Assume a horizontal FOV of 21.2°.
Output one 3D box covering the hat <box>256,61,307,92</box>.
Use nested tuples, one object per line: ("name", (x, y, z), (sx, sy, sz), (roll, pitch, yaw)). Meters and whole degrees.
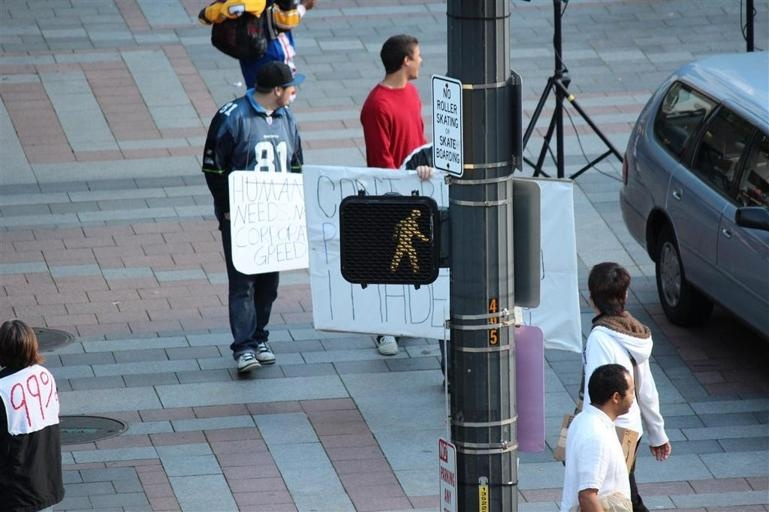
("hat", (-1.116, -1.969, 22.241), (0.509, 0.258, 0.314), (-13, 43, -9))

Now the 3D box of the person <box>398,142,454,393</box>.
("person", (0.397, -0.118, 21.690), (0.729, 2.103, 1.284), (4, 3, 10))

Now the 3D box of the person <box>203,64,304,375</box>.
("person", (-1.373, -0.441, 22.529), (1.034, 3.395, 0.494), (-16, 21, -34))

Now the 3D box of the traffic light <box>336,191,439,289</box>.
("traffic light", (0.061, -0.172, 19.021), (1.045, 0.908, 0.498), (1, 7, 7))
